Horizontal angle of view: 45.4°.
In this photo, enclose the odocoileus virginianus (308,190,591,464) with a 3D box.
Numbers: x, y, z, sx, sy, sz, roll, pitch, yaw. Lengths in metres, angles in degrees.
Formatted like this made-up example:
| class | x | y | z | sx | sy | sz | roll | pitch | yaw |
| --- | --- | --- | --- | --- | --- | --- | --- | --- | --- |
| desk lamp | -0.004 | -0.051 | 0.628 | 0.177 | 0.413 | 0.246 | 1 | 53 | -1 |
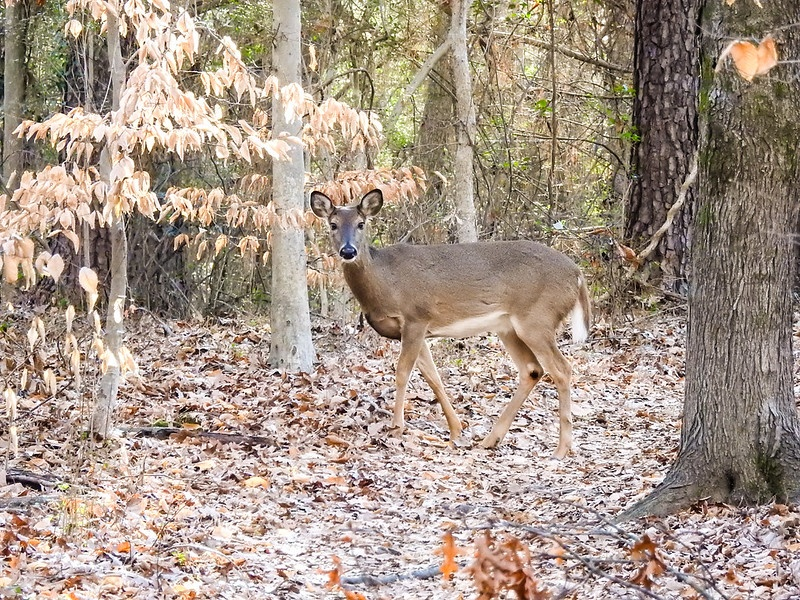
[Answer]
| class | x | y | z | sx | sy | sz | roll | pitch | yaw |
| --- | --- | --- | --- | --- | --- | --- | --- | --- | --- |
| odocoileus virginianus | 0.472 | 0.226 | 8.874 | 2.694 | 2.303 | 0.907 | 2 | -3 | -12 |
